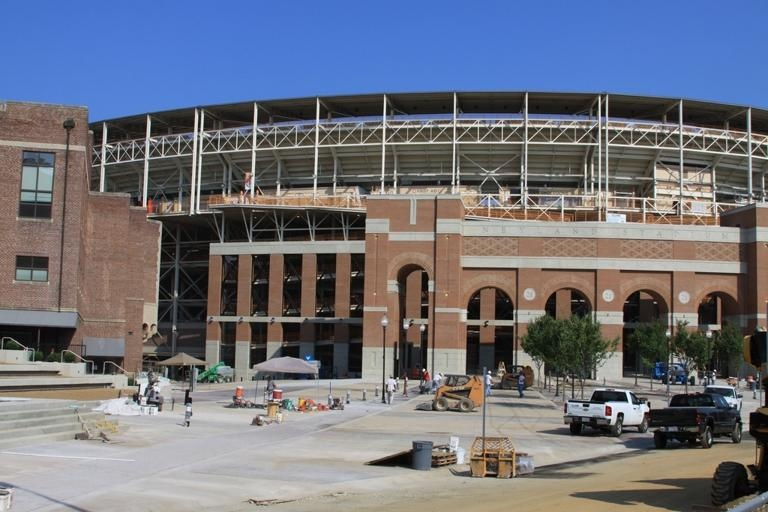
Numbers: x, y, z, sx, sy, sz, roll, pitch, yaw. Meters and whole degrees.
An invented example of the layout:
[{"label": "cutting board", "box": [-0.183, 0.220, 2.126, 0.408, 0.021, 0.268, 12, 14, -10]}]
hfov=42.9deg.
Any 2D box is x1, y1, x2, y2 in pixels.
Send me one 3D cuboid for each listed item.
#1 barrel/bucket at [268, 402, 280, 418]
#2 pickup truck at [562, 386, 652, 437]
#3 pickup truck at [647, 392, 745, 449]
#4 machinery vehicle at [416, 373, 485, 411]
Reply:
[{"label": "barrel/bucket", "box": [-6.260, 8.823, 56.087, 1.002, 0.822, 0.853, 1, -2, 13]}, {"label": "pickup truck", "box": [12.712, 8.815, 54.830, 4.648, 2.608, 1.758, 5, -10, -28]}, {"label": "pickup truck", "box": [16.652, 8.679, 51.206, 3.126, 2.350, 7.968, -4, -6, 42]}, {"label": "machinery vehicle", "box": [4.905, 9.023, 63.906, 5.106, 1.925, 2.318, 1, -8, 9]}]
